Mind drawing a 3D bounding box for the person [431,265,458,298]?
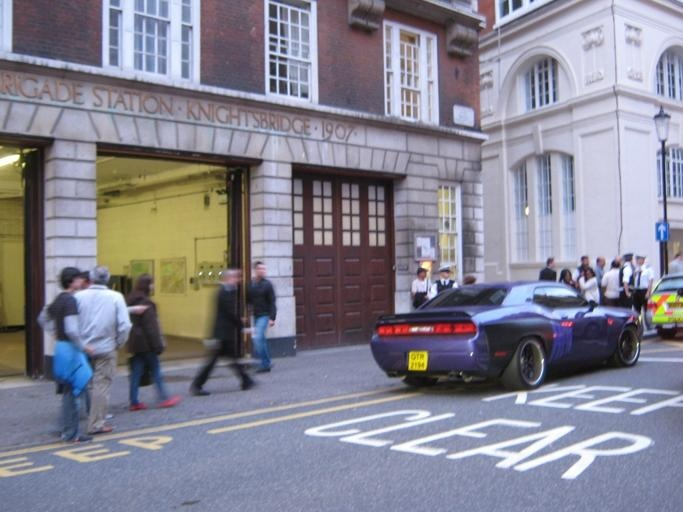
[{"bbox_3d":[2.466,0.622,16.332,0.563,0.882,0.482,-1,-6,-10],"label":"person"}]

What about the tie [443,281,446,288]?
[{"bbox_3d":[2.576,0.711,16.691,0.097,0.163,0.036,-1,-11,13],"label":"tie"}]

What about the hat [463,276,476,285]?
[{"bbox_3d":[3.088,0.595,16.196,0.386,0.242,0.583,0,0,14],"label":"hat"}]

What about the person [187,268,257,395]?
[{"bbox_3d":[-2.069,1.308,11.919,1.082,2.109,1.156,-2,1,-9],"label":"person"}]

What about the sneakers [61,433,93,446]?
[{"bbox_3d":[-3.470,2.407,8.888,0.419,0.222,0.152,0,1,-21],"label":"sneakers"}]

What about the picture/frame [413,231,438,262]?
[{"bbox_3d":[2.275,-0.245,18.330,0.682,0.771,0.099,1,-3,-30],"label":"picture/frame"}]

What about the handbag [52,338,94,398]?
[{"bbox_3d":[-3.519,1.468,8.869,0.455,0.737,0.246,-2,2,-23],"label":"handbag"}]

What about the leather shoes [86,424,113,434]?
[{"bbox_3d":[-3.317,2.399,9.336,0.299,0.155,0.107,-2,5,-26],"label":"leather shoes"}]

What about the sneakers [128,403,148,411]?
[{"bbox_3d":[-3.208,2.349,10.596,0.209,0.108,0.112,-1,1,-17],"label":"sneakers"}]

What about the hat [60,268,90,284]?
[{"bbox_3d":[-3.619,0.258,9.183,0.285,0.200,0.211,1,-3,-39],"label":"hat"}]
